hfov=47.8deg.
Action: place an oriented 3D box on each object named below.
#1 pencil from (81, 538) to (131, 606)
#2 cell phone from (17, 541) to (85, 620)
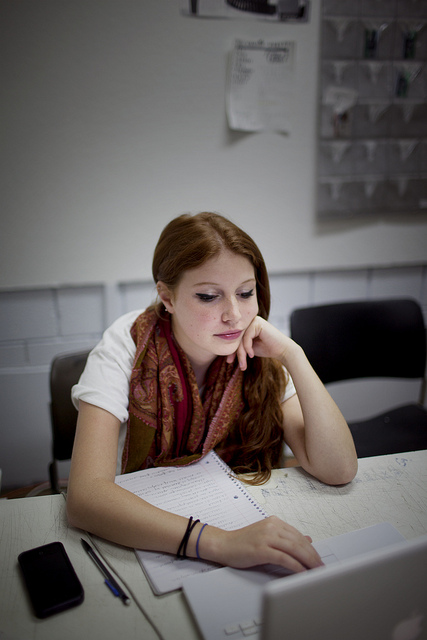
[{"bbox_3d":[-0.167,0.376,0.729,0.016,0.010,0.159,-10,16,-35],"label":"pencil"},{"bbox_3d":[-0.243,0.383,0.712,0.069,0.024,0.129,-7,18,-33],"label":"cell phone"}]
